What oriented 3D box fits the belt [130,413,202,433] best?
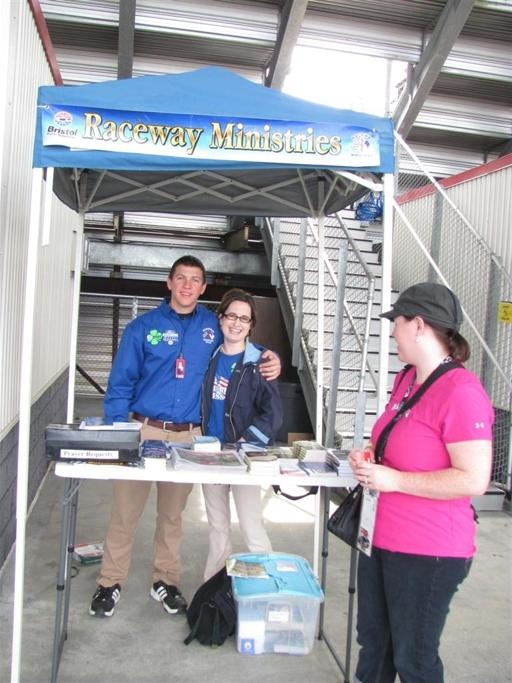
[{"bbox_3d":[-0.528,0.462,3.083,0.403,0.093,0.125,4,-1,-2],"label":"belt"}]

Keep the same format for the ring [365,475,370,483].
[{"bbox_3d":[0.348,0.419,1.664,0.009,0.022,0.017,0,-5,11],"label":"ring"}]

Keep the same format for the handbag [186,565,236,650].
[{"bbox_3d":[-0.156,1.365,2.856,0.310,0.409,0.165,-13,-46,31],"label":"handbag"}]

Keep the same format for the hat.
[{"bbox_3d":[0.525,-0.120,1.697,0.215,0.106,0.144,12,9,26],"label":"hat"}]

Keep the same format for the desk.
[{"bbox_3d":[-0.203,1.027,2.866,1.547,0.901,1.477,5,-1,-6],"label":"desk"}]

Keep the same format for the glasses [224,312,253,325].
[{"bbox_3d":[-0.099,-0.132,2.914,0.150,0.048,0.076,5,-1,-5],"label":"glasses"}]

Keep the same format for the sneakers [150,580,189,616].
[{"bbox_3d":[-0.508,1.475,3.127,0.094,0.105,0.255,8,-7,-36],"label":"sneakers"}]

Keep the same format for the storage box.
[{"bbox_3d":[0.109,1.320,2.701,0.395,0.253,0.541,1,-9,1],"label":"storage box"}]
